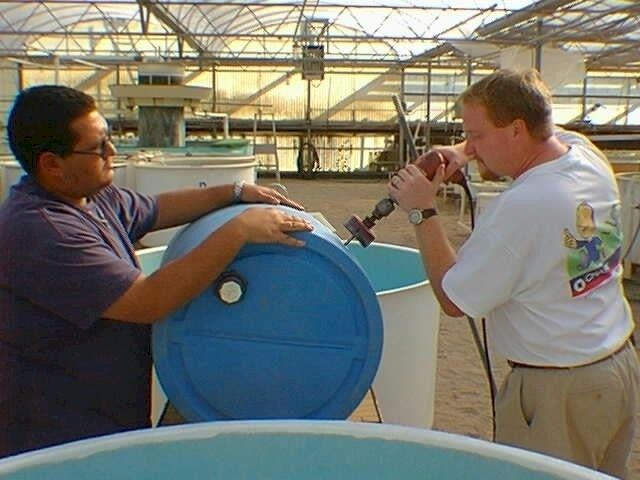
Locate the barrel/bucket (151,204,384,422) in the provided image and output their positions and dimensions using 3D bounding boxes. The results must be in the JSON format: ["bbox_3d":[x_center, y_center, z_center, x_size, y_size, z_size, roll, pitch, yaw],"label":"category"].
[{"bbox_3d":[-0.157,0.183,2.882,0.683,0.773,0.698,5,3,0],"label":"barrel/bucket"}]

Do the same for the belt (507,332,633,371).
[{"bbox_3d":[0.904,0.386,2.802,0.304,0.149,0.347,2,6,11],"label":"belt"}]
